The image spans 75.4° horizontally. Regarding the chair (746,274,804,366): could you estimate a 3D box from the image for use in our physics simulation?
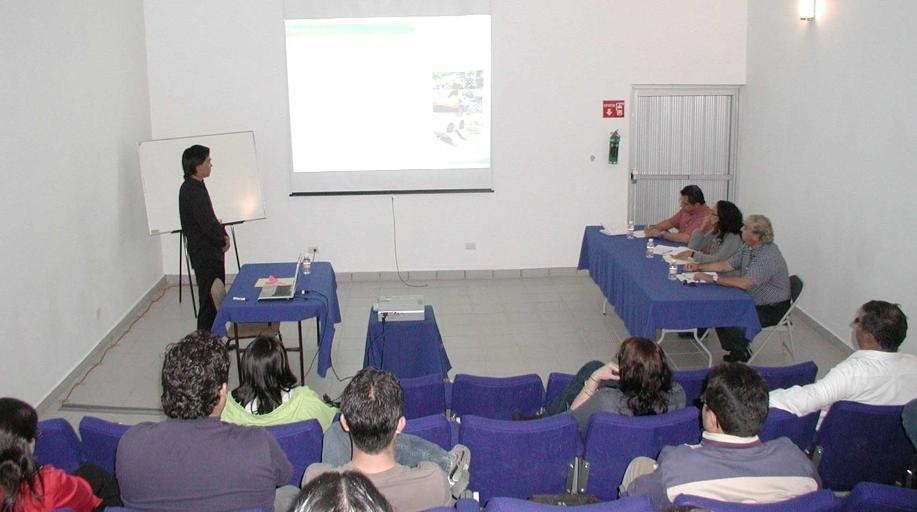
[{"bbox_3d":[3.655,0.800,7.090,0.807,1.003,0.680,1,13,31],"label":"chair"}]

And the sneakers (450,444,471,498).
[{"bbox_3d":[0.011,1.624,4.427,0.131,0.404,0.239,-3,15,8],"label":"sneakers"}]

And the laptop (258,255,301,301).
[{"bbox_3d":[-2.027,0.245,6.632,0.352,0.191,0.505,-1,18,-9],"label":"laptop"}]

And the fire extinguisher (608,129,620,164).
[{"bbox_3d":[2.472,-1.710,9.364,0.229,0.544,0.124,-8,15,-13],"label":"fire extinguisher"}]

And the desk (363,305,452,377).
[{"bbox_3d":[-0.618,0.921,6.827,0.788,0.726,0.795,-1,14,-5],"label":"desk"}]

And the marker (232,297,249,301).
[{"bbox_3d":[-2.418,0.469,6.552,0.180,0.038,0.052,0,-2,-8],"label":"marker"}]

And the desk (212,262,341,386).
[{"bbox_3d":[-2.050,0.836,6.948,1.208,0.749,1.535,-1,22,-6],"label":"desk"}]
